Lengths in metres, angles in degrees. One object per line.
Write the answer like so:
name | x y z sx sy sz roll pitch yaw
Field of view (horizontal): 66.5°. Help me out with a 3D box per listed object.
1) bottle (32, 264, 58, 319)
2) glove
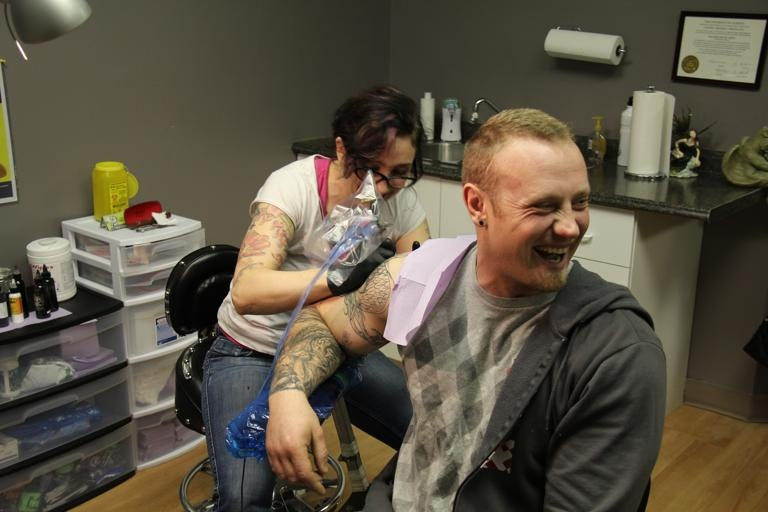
bottle | -1.382 0.158 2.387 0.066 0.164 0.102 0 17 -5
glove | -0.053 0.033 1.637 0.156 0.172 0.133 43 19 -7
